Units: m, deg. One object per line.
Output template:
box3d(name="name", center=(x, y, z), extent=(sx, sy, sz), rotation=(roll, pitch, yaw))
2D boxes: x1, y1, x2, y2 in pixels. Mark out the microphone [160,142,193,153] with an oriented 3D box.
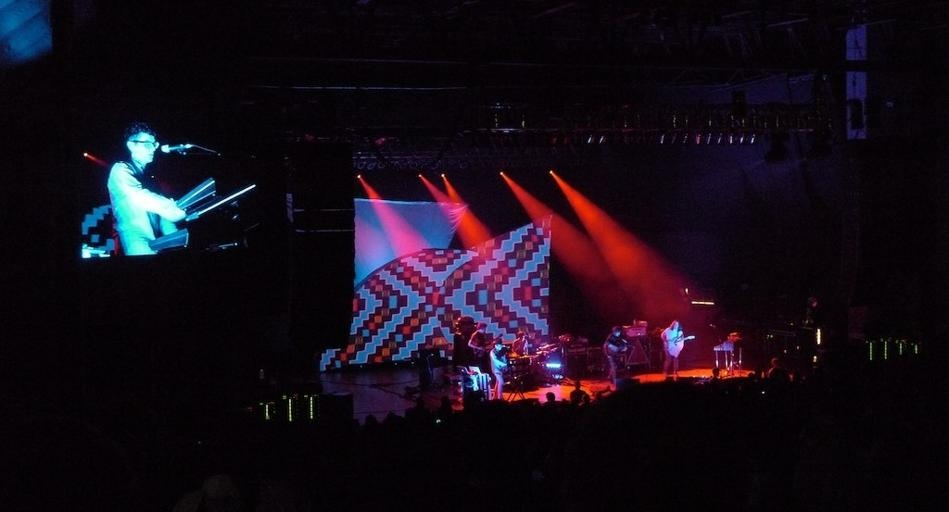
box3d(name="microphone", center=(-4.058, -1.487, 12.170), extent=(0.450, 0.142, 0.122), rotation=(-2, 24, -23))
